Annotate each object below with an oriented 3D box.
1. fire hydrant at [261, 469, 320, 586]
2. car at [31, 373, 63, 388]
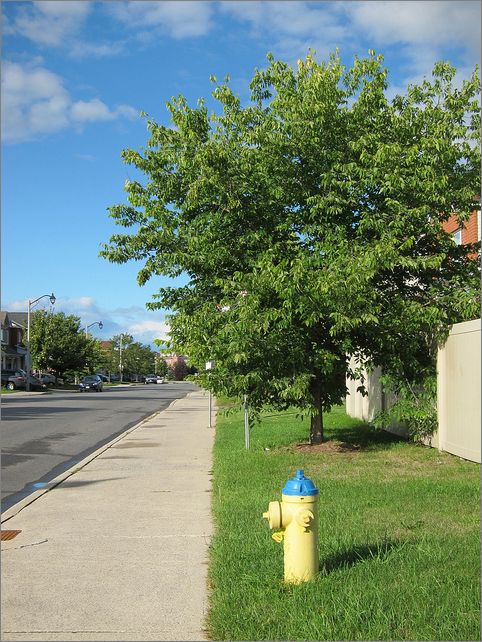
[{"bbox_3d":[0.326,1.350,4.290,0.357,0.748,0.218,0,-4,6],"label":"fire hydrant"},{"bbox_3d":[-17.275,5.328,58.534,2.245,0.727,0.963,4,-7,-6],"label":"car"}]
